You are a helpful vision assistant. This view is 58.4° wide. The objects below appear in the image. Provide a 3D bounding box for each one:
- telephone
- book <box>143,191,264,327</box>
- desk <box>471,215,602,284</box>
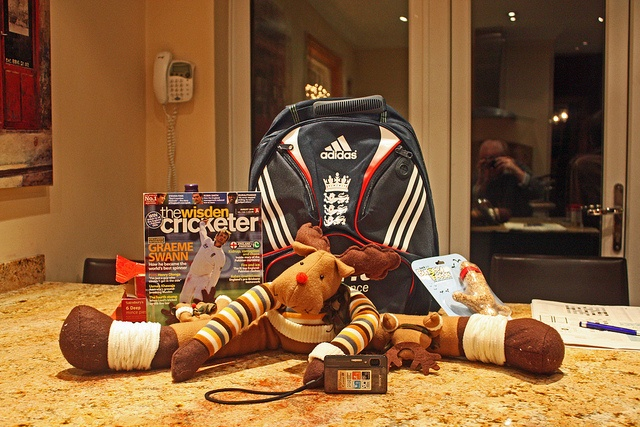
[{"bbox_3d":[-0.736,-0.465,2.926,0.205,0.695,0.092,-1,2,-9],"label":"telephone"},{"bbox_3d":[-0.348,0.127,1.718,0.345,0.418,0.007,-1,24,-15],"label":"book"},{"bbox_3d":[1.137,0.330,3.031,0.647,0.612,0.361,1,-4,13],"label":"desk"}]
